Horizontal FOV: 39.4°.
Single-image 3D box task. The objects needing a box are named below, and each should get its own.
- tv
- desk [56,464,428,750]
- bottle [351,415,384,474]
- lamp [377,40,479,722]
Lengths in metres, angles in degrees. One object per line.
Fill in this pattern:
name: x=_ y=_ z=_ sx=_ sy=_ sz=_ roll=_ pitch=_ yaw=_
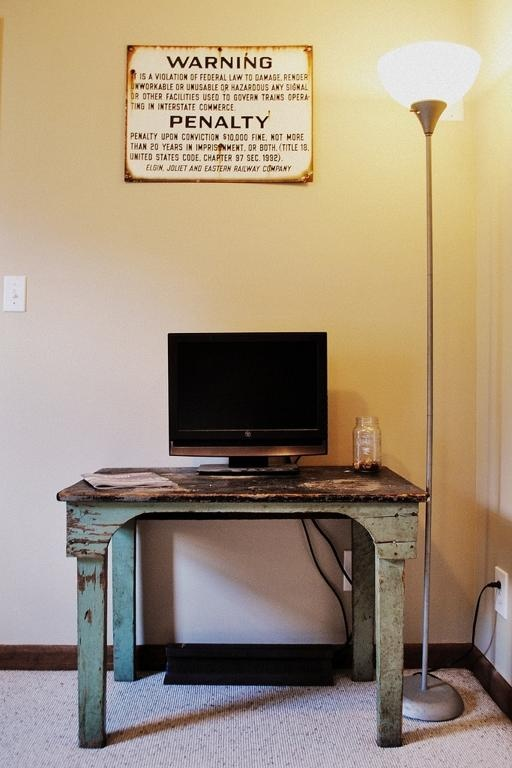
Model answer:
tv: x=-0.025 y=0.045 z=2.062 sx=0.342 sy=0.354 sz=0.122 roll=0 pitch=3 yaw=-1
desk: x=-0.046 y=0.617 z=2.014 sx=0.878 sy=0.774 sz=0.617 roll=1 pitch=3 yaw=2
bottle: x=0.312 y=0.167 z=2.061 sx=0.106 sy=0.159 sz=0.112 roll=-1 pitch=10 yaw=0
lamp: x=0.407 y=-0.231 z=1.709 sx=0.195 sy=1.266 sz=0.217 roll=-1 pitch=-20 yaw=15
